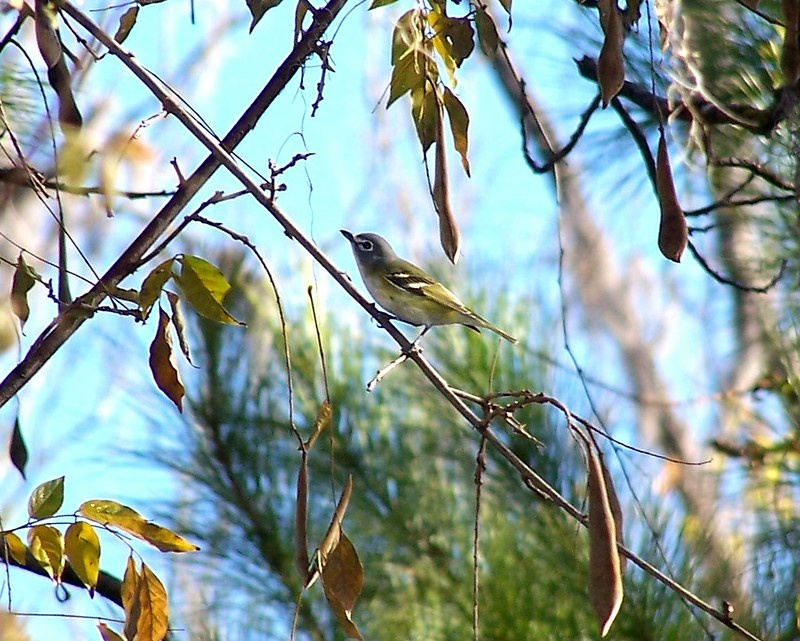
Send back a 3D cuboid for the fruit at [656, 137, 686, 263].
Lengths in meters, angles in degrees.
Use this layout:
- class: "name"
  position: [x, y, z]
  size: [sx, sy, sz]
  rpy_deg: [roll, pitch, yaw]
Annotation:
- class: "fruit"
  position: [0.843, -0.365, 4.180]
  size: [0.103, 0.085, 0.438]
  rpy_deg: [-8, -44, 10]
